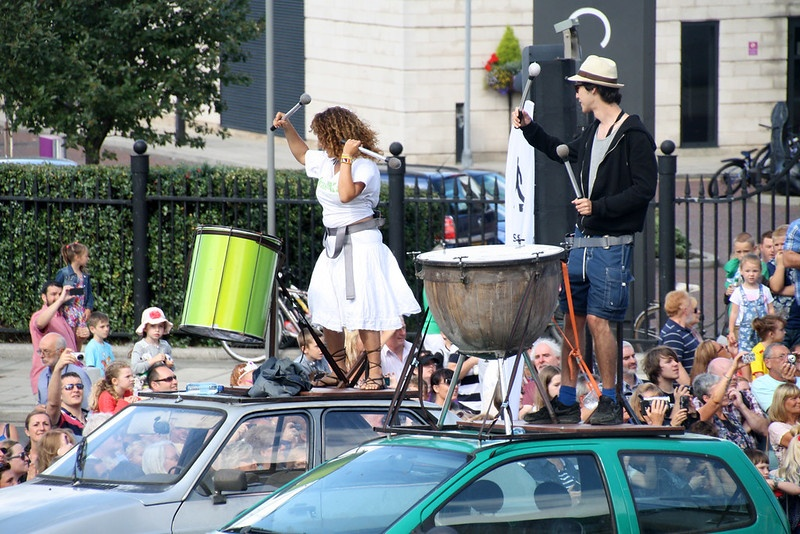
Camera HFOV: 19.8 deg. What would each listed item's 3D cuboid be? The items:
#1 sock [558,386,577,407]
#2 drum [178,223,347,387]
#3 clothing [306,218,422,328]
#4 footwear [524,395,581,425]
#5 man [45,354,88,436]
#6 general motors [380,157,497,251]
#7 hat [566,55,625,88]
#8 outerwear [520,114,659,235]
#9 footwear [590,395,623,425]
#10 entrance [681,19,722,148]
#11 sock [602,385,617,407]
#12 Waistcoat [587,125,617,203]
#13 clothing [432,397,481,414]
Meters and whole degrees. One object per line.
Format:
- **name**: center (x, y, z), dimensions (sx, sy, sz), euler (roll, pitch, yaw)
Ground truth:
- **sock**: center (2.300, 1.786, 31.619), dimensions (0.263, 0.261, 0.265), euler (-1, -1, 22)
- **drum**: center (-1.691, 0.558, 33.177), dimensions (2.834, 1.966, 1.275), euler (16, -11, -31)
- **clothing**: center (-0.703, 0.005, 33.069), dimensions (1.717, 1.543, 1.244), euler (0, 6, 21)
- **footwear**: center (2.015, 1.960, 30.831), dimensions (0.817, 0.343, 0.296), euler (1, -5, -14)
- **man**: center (-4.898, 1.832, 33.671), dimensions (0.335, 1.077, 0.798), euler (-9, 15, 0)
- **general motors**: center (0.901, -1.089, 37.900), dimensions (1.279, 1.056, 2.050), euler (-9, 15, -29)
- **hat**: center (2.728, -2.800, 31.872), dimensions (0.589, 0.224, 0.518), euler (7, 5, -6)
- **outerwear**: center (2.790, -1.317, 32.623), dimensions (1.630, 2.114, 2.313), euler (-5, 11, -29)
- **footwear**: center (2.754, 1.950, 30.818), dimensions (0.276, 0.224, 0.502), euler (-4, -6, 28)
- **entrance**: center (7.495, -4.767, 57.695), dimensions (0.939, 3.219, 0.529), euler (0, 5, 5)
- **sock**: center (2.828, 1.757, 31.467), dimensions (0.187, 0.258, 0.183), euler (1, -4, -10)
- **Waistcoat**: center (2.720, -1.554, 31.965), dimensions (0.233, 0.892, 0.498), euler (12, 1, -9)
- **clothing**: center (0.857, 2.061, 33.692), dimensions (0.472, 0.241, 0.288), euler (16, 4, 22)
